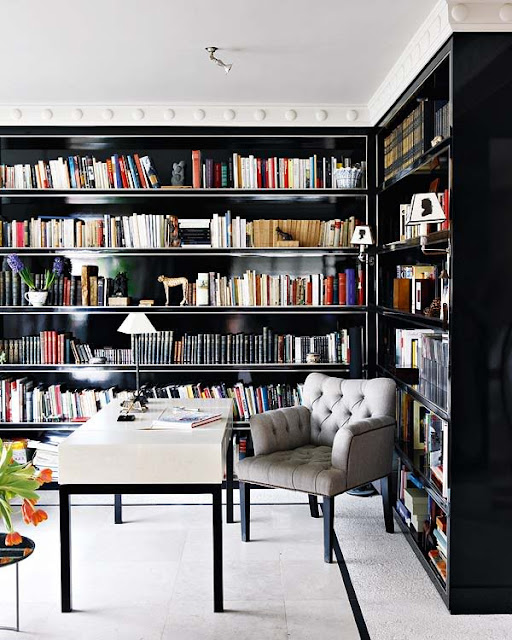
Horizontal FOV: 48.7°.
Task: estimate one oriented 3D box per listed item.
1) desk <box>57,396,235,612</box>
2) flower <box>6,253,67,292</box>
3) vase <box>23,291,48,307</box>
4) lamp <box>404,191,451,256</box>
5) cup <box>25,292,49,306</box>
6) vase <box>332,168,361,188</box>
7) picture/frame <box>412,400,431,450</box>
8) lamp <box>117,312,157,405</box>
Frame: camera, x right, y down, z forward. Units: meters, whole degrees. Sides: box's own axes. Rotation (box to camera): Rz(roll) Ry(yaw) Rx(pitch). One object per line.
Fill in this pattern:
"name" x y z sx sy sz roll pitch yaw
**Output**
"desk" -0.538 0.896 2.884 0.788 0.774 0.823 0 1 0
"flower" -1.682 -0.363 4.331 0.220 0.269 0.090 -2 1 -6
"vase" -1.647 -0.149 4.228 0.125 0.112 0.112 -1 1 32
"lamp" 0.794 -0.449 2.602 0.160 0.271 0.172 0 6 8
"cup" -1.647 -0.161 4.227 0.097 0.105 0.131 -1 -4 22
"vase" 0.672 -1.047 4.216 0.139 0.119 0.161 0 -1 -1
"picture/frame" 0.989 0.626 3.353 0.101 0.226 0.019 -2 -9 38
"lamp" -0.773 0.247 3.759 0.205 0.604 1.272 -1 1 -10
